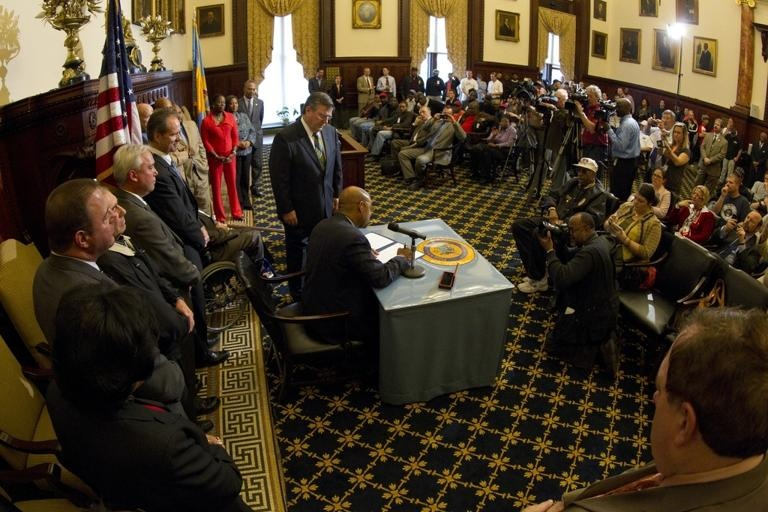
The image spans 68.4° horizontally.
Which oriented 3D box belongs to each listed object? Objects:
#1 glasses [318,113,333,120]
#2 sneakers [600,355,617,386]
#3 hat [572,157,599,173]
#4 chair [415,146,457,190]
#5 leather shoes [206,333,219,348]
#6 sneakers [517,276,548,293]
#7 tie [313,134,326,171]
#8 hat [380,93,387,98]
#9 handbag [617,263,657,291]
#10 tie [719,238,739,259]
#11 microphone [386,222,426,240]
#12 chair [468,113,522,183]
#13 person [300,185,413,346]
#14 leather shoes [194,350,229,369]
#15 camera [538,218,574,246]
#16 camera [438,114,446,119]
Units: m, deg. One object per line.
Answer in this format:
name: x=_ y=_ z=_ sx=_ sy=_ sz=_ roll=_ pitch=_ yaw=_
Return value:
glasses: x=-0.516 y=-1.235 z=5.017 sx=0.072 sy=0.063 sz=0.216 roll=2 pitch=17 yaw=11
sneakers: x=1.837 y=0.933 z=4.584 sx=0.074 sy=0.227 sz=0.210 roll=9 pitch=-1 yaw=5
hat: x=2.128 y=-0.949 z=5.824 sx=0.287 sy=0.141 sz=0.217 roll=13 pitch=5 yaw=-19
chair: x=0.890 y=-1.453 z=9.598 sx=0.690 sy=1.051 sz=0.730 roll=1 pitch=38 yaw=1
leather shoes: x=-1.487 y=0.719 z=4.852 sx=0.053 sy=0.069 sz=0.168 roll=1 pitch=10 yaw=-10
sneakers: x=1.523 y=0.288 z=5.822 sx=0.327 sy=0.166 sz=0.134 roll=2 pitch=20 yaw=-1
tie: x=-0.601 y=-0.968 z=5.168 sx=0.106 sy=0.308 sz=0.058 roll=-4 pitch=17 yaw=-11
hat: x=-0.018 y=-3.481 z=12.226 sx=0.151 sy=0.119 sz=0.294 roll=0 pitch=17 yaw=5
handbag: x=2.206 y=0.152 z=4.959 sx=0.221 sy=0.248 sz=0.271 roll=-10 pitch=16 yaw=-37
tie: x=3.338 y=-0.061 z=5.449 sx=0.073 sy=0.240 sz=0.149 roll=27 pitch=0 yaw=-19
microphone: x=0.172 y=-0.199 z=4.576 sx=0.249 sy=0.074 sz=0.070 roll=23 pitch=32 yaw=-12
chair: x=1.899 y=-1.838 z=9.641 sx=0.782 sy=1.032 sz=0.865 roll=11 pitch=21 yaw=36
person: x=-0.226 y=0.084 z=4.148 sx=0.786 sy=1.102 sz=0.410 roll=-4 pitch=17 yaw=-9
leather shoes: x=-1.407 y=0.825 z=4.558 sx=0.261 sy=0.111 sz=0.097 roll=-3 pitch=46 yaw=-27
camera: x=1.561 y=-0.204 z=5.165 sx=0.271 sy=0.175 sz=0.259 roll=10 pitch=22 yaw=-13
camera: x=0.982 y=-2.352 z=9.530 sx=0.044 sy=0.094 sz=0.258 roll=-5 pitch=18 yaw=-14
